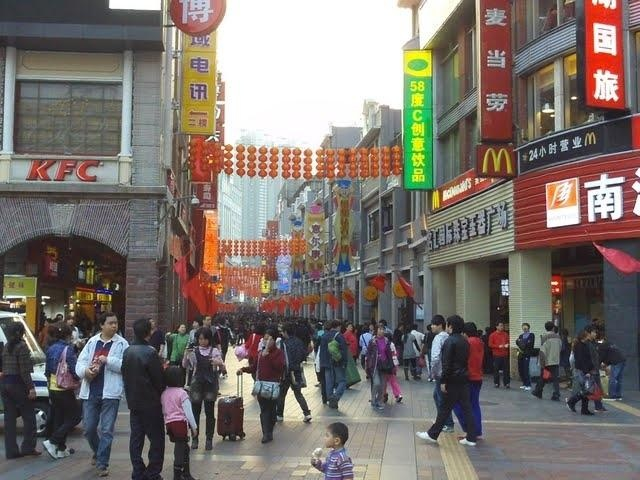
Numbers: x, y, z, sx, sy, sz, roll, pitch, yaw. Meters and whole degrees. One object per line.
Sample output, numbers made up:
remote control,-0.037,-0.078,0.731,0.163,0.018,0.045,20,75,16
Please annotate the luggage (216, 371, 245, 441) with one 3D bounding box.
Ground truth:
luggage,-1.756,3.332,13.952,0.481,1.353,0.472,-8,-13,31

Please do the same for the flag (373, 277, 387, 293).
flag,2.325,1.714,27.353,0.462,0.633,0.778,0,-7,3
